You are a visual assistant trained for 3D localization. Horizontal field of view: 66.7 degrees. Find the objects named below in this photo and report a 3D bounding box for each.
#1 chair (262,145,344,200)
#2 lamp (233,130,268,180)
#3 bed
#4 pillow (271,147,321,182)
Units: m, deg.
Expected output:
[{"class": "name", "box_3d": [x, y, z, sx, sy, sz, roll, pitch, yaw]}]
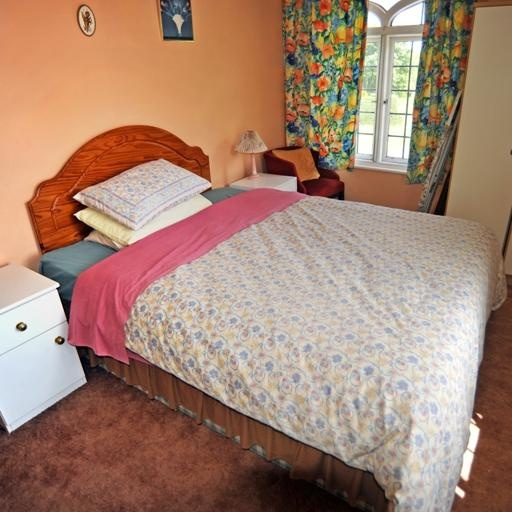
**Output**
[{"class": "chair", "box_3d": [0.492, -0.897, 4.121, 0.714, 0.748, 0.662, 20, 30, 41]}, {"class": "lamp", "box_3d": [-0.070, -1.004, 3.838, 0.324, 0.487, 0.346, -28, 43, -26]}, {"class": "bed", "box_3d": [-0.375, 0.166, 2.760, 3.097, 1.755, 1.681, 20, 38, 25]}, {"class": "pillow", "box_3d": [0.429, -0.999, 4.181, 0.441, 0.418, 0.134, -15, -6, -38]}]
